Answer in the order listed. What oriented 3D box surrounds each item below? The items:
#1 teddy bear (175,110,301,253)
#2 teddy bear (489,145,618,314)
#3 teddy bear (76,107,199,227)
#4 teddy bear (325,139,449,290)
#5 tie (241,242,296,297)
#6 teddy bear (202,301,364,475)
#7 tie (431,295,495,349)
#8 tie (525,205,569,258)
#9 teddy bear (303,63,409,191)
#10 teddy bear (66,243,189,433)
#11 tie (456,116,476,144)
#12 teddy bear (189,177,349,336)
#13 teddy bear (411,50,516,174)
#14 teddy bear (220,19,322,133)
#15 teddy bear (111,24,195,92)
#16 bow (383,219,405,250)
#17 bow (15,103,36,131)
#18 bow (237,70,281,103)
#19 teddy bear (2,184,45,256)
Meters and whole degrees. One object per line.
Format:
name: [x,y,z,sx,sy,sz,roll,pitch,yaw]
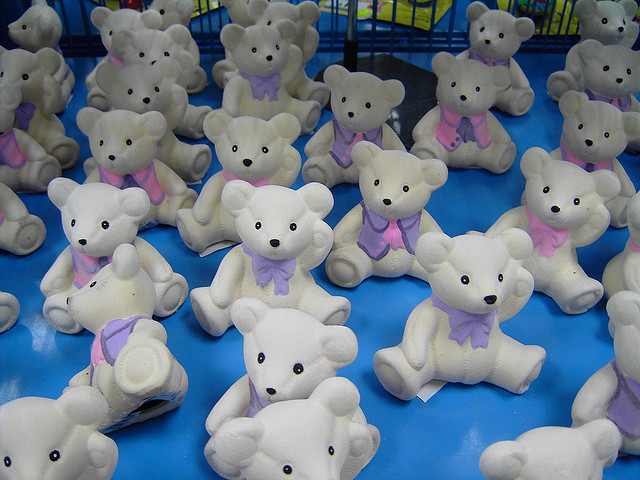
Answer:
teddy bear: [-0.593,-0.420,5.094,0.820,1.088,0.812,2,49,-19]
teddy bear: [1.680,-0.054,4.912,0.885,1.041,0.714,22,45,16]
teddy bear: [-1.397,-0.532,5.193,0.812,1.002,0.656,6,54,1]
teddy bear: [0.522,-0.177,4.946,0.810,1.084,0.698,7,51,6]
tie: [-0.320,0.190,4.433,0.261,0.318,0.045,4,11,8]
teddy bear: [-0.252,0.891,4.006,0.929,0.910,0.592,-7,37,-14]
tie: [0.916,0.483,4.332,0.363,0.248,0.282,8,37,-15]
tie: [1.604,-0.054,4.767,0.214,0.284,0.038,35,33,22]
teddy bear: [0.272,-0.880,5.521,0.801,1.026,0.678,16,53,8]
teddy bear: [-1.204,0.638,4.191,0.705,0.883,0.870,-18,42,-26]
tie: [1.234,-0.928,5.739,0.108,0.218,0.023,-16,15,3]
teddy bear: [-0.328,0.097,4.557,0.985,1.124,0.746,2,46,-7]
teddy bear: [1.267,-1.065,5.840,0.908,1.109,0.717,7,49,0]
teddy bear: [-0.466,-1.389,5.861,0.762,0.963,0.596,-12,38,-14]
teddy bear: [-1.510,-1.726,6.132,0.793,0.804,0.550,0,26,-11]
bow: [0.528,-0.029,4.891,0.112,0.217,0.040,-1,11,-13]
bow: [-2.481,-1.040,5.733,0.054,0.195,0.170,6,26,43]
bow: [-0.489,-1.355,6.020,0.342,0.262,0.429,-7,16,-21]
teddy bear: [-2.255,-0.162,5.201,0.194,0.418,0.545,-15,34,-36]
